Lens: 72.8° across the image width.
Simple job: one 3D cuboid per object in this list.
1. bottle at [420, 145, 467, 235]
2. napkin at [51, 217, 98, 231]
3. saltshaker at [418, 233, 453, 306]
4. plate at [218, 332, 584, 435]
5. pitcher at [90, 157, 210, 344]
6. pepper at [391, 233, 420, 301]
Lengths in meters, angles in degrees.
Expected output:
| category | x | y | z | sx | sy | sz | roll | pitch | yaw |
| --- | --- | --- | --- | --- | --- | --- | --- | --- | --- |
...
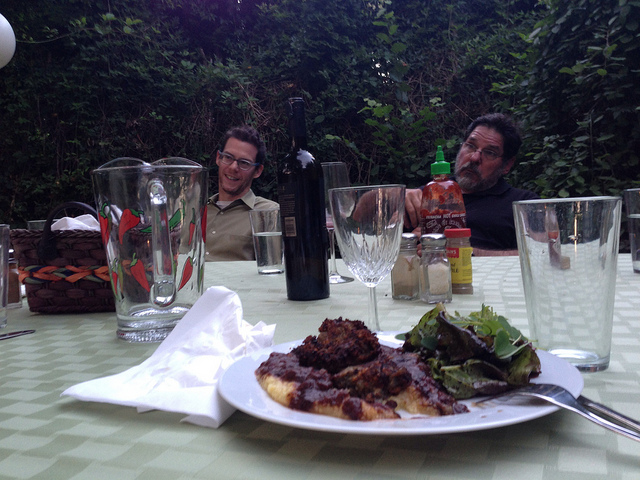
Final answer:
| category | x | y | z | sx | sy | sz | roll | pitch | yaw |
| --- | --- | --- | --- | --- | --- | --- | --- | --- | --- |
| bottle | 0.368 | -0.151 | 1.316 | 0.131 | 0.262 | 0.340 | 2 | 10 | 25 |
| napkin | -0.682 | -0.037 | 1.175 | 0.071 | 0.024 | 0.075 | 5 | 1 | 18 |
| saltshaker | 0.297 | 0.071 | 1.121 | 0.086 | 0.173 | 0.165 | 1 | 10 | 17 |
| plate | 0.103 | 0.188 | 0.617 | 0.478 | 0.032 | 0.301 | -2 | 9 | 2 |
| pitcher | -0.371 | 0.009 | 0.977 | 0.239 | 0.395 | 0.317 | -4 | 9 | -25 |
| pepper | 0.226 | 0.072 | 1.160 | 0.064 | 0.182 | 0.071 | 0 | 7 | 2 |
